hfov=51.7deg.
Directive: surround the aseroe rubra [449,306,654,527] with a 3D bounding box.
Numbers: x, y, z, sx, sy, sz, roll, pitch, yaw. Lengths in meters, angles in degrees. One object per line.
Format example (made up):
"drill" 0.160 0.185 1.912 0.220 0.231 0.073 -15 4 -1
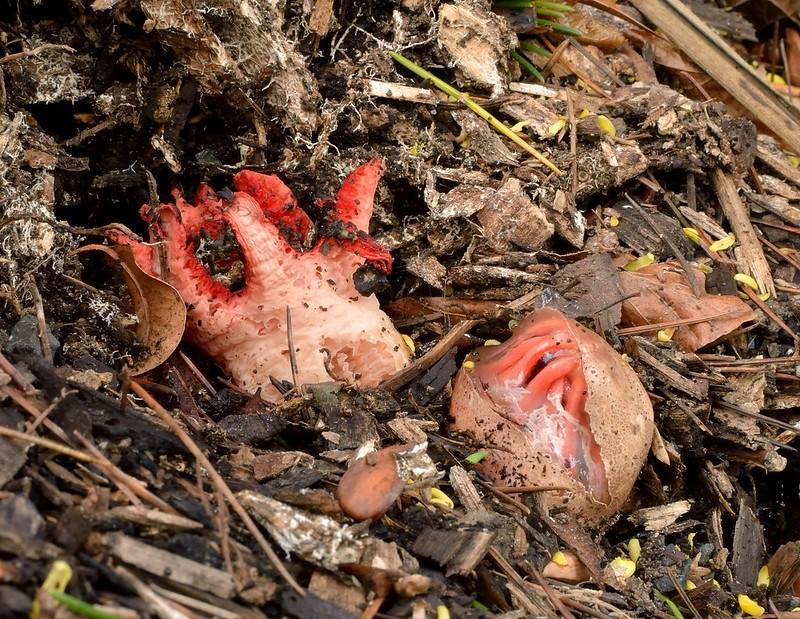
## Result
"aseroe rubra" 0.523 0.464 3.298 0.731 0.519 0.787 -16 64 -19
